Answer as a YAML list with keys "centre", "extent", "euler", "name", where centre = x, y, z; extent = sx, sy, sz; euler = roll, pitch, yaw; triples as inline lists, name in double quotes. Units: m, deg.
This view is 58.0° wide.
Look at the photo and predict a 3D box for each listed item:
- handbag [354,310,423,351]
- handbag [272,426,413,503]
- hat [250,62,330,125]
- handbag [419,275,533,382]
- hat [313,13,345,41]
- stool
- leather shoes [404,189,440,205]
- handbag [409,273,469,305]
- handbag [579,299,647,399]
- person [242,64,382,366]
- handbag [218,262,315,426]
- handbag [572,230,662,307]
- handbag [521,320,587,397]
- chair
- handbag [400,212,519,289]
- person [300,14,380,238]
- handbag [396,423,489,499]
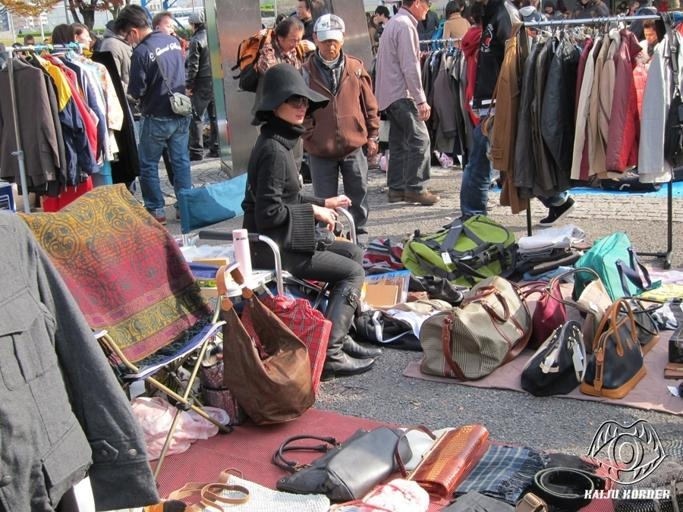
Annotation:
- centre: [0.335, 0.559, 4.623]
  extent: [0.354, 0.147, 0.294]
  euler: [7, 10, 7]
  name: "handbag"
- centre: [0.091, 1.031, 3.078]
  extent: [0.318, 0.125, 0.503]
  euler: [11, 28, 44]
  name: "handbag"
- centre: [-0.301, -1.133, 4.149]
  extent: [0.441, 0.300, 0.458]
  euler: [-20, 3, -24]
  name: "hat"
- centre: [0.995, 0.492, 4.339]
  extent: [0.552, 0.515, 1.044]
  euler: [5, 19, 40]
  name: "handbag"
- centre: [-0.116, -2.196, 5.909]
  extent: [0.275, 0.258, 0.208]
  euler: [-5, 12, -2]
  name: "hat"
- centre: [-0.227, 0.182, 4.675]
  extent: [0.666, 0.412, 0.440]
  euler: [-15, -15, 9]
  name: "stool"
- centre: [1.023, -0.743, 7.828]
  extent: [0.438, 0.225, 0.180]
  euler: [0, 25, 5]
  name: "leather shoes"
- centre: [0.789, 0.212, 5.019]
  extent: [0.395, 0.154, 0.214]
  euler: [23, 30, 25]
  name: "handbag"
- centre: [1.680, 0.533, 3.798]
  extent: [0.257, 0.562, 0.490]
  euler: [7, 17, 44]
  name: "handbag"
- centre: [-0.222, -0.238, 4.489]
  extent: [0.999, 2.097, 0.883]
  euler: [-2, 7, -12]
  name: "person"
- centre: [-0.450, 0.509, 3.651]
  extent: [0.477, 0.903, 0.563]
  euler: [-2, 13, 15]
  name: "handbag"
- centre: [2.186, 0.102, 4.916]
  extent: [0.660, 0.488, 0.458]
  euler: [-23, 19, -33]
  name: "handbag"
- centre: [1.312, 0.626, 3.831]
  extent: [0.393, 0.425, 0.216]
  euler: [-3, 12, 8]
  name: "handbag"
- centre: [-1.087, 0.374, 3.330]
  extent: [0.998, 1.282, 1.159]
  euler: [1, 20, -10]
  name: "chair"
- centre: [1.089, -0.069, 5.307]
  extent: [0.686, 0.260, 0.667]
  euler: [-31, 31, -35]
  name: "handbag"
- centre: [-0.024, -1.169, 6.247]
  extent: [0.805, 2.397, 0.702]
  euler: [-13, 30, -13]
  name: "person"
- centre: [0.536, 1.015, 3.076]
  extent: [0.231, 0.120, 0.487]
  euler: [26, 38, 23]
  name: "handbag"
